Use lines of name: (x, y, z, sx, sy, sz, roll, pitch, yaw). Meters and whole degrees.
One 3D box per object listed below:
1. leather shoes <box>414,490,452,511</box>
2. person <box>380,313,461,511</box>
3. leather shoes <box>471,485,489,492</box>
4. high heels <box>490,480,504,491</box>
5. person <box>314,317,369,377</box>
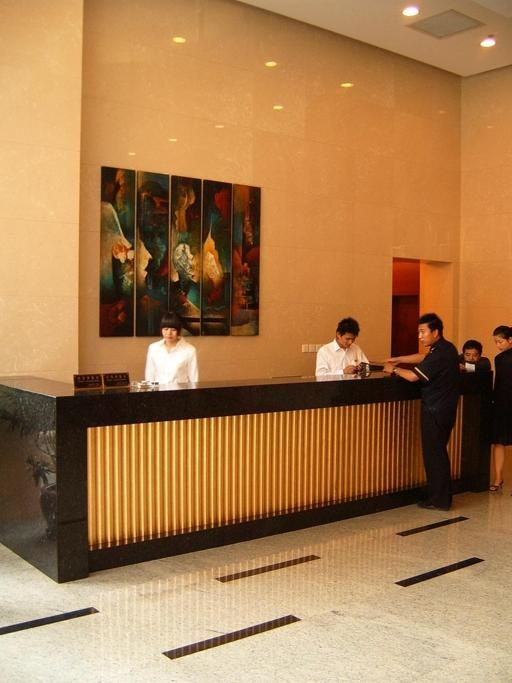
leather shoes: (1.563, 1.407, 5.385, 0.138, 0.159, 0.361, -3, 8, -45)
person: (1.486, 0.622, 5.393, 0.560, 1.693, 0.645, 1, -2, 15)
leather shoes: (2.243, 1.479, 6.103, 0.147, 0.035, 0.075, -2, -1, -34)
high heels: (2.465, 1.484, 6.290, 0.196, 0.085, 0.069, 1, -5, -41)
person: (0.862, 0.055, 6.419, 0.592, 0.815, 0.435, -8, 13, -31)
